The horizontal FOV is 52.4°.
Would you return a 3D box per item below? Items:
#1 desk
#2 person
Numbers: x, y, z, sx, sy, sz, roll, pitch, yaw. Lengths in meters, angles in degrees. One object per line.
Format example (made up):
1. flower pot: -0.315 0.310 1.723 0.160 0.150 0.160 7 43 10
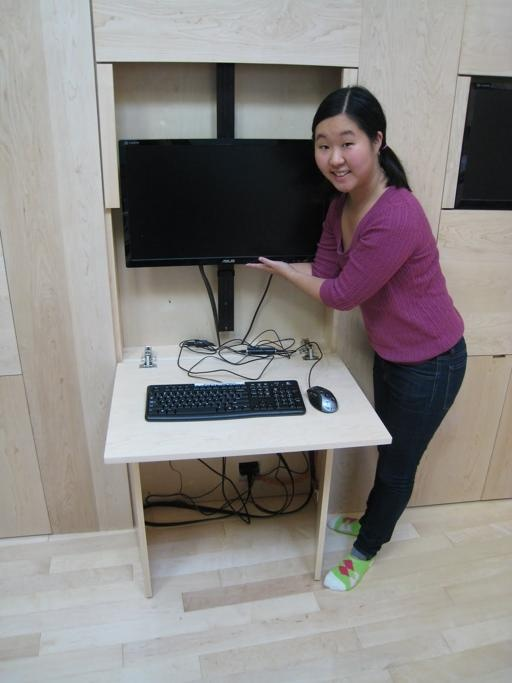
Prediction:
1. desk: -0.059 0.150 1.645 0.823 0.687 0.731 -4 35 -6
2. person: 0.313 0.056 1.600 0.397 1.507 0.554 -22 34 -40
